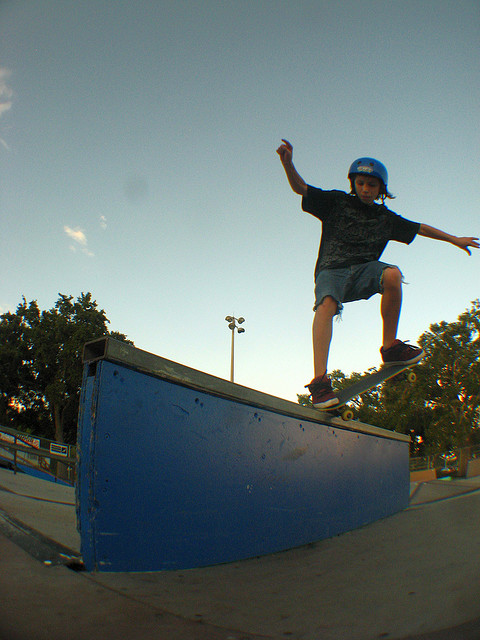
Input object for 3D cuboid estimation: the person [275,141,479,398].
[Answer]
[{"bbox_3d":[0.650,-0.229,3.802,1.047,1.431,0.635,9,-1,1],"label":"person"}]
